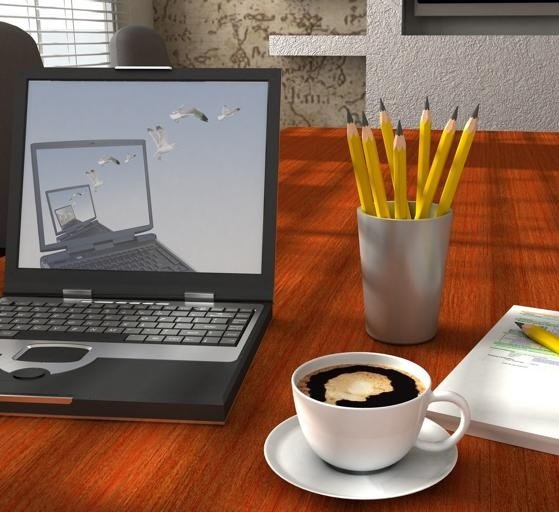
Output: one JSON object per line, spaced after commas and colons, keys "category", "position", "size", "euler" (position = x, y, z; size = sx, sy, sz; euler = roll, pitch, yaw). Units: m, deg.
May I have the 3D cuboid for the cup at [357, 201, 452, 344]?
{"category": "cup", "position": [0.123, 0.020, 0.493], "size": [0.091, 0.131, 0.067], "euler": [3, 26, 16]}

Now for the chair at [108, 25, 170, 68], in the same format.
{"category": "chair", "position": [-0.549, -0.838, 1.913], "size": [0.232, 0.148, 0.152], "euler": [-14, 25, -24]}

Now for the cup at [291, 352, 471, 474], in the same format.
{"category": "cup", "position": [0.055, 0.101, 0.324], "size": [0.091, 0.054, 0.077], "euler": [-4, 23, -1]}
